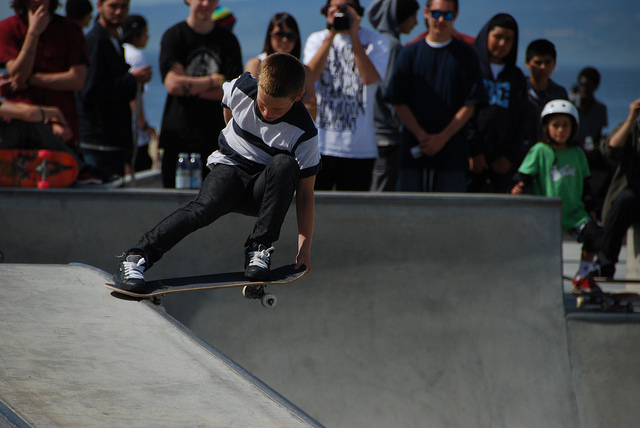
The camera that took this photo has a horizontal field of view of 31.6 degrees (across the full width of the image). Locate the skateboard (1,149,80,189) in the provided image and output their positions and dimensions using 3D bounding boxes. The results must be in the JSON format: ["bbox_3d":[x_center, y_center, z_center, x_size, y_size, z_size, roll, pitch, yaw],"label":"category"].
[{"bbox_3d":[-2.700,-0.434,10.795,0.691,0.389,0.109,6,4,-3],"label":"skateboard"}]

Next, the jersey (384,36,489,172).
[{"bbox_3d":[1.149,-1.071,11.011,0.991,1.389,0.384,0,-2,6],"label":"jersey"}]

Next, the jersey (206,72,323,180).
[{"bbox_3d":[-0.482,-0.695,10.012,0.859,0.951,0.447,11,25,16],"label":"jersey"}]

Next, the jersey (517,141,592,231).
[{"bbox_3d":[2.262,-0.245,10.882,0.755,0.813,0.447,2,-5,-16],"label":"jersey"}]

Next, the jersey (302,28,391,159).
[{"bbox_3d":[0.257,-1.257,11.173,0.883,1.384,0.474,7,25,18],"label":"jersey"}]

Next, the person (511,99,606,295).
[{"bbox_3d":[2.366,-0.189,11.038,0.918,1.249,0.583,6,4,9],"label":"person"}]

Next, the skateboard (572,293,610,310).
[{"bbox_3d":[2.556,0.816,10.570,0.306,0.104,0.231,7,4,13],"label":"skateboard"}]

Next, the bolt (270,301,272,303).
[{"bbox_3d":[-0.423,0.759,9.696,0.016,0.017,0.012,3,8,-2],"label":"bolt"}]

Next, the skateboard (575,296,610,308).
[{"bbox_3d":[2.551,0.827,10.556,0.303,0.124,0.127,5,4,-11],"label":"skateboard"}]

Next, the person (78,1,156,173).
[{"bbox_3d":[-2.072,-1.284,11.164,0.589,0.631,2.058,9,-41,-4],"label":"person"}]

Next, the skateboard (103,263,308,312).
[{"bbox_3d":[-0.978,0.663,10.106,1.369,0.246,0.338,-4,15,-19],"label":"skateboard"}]
